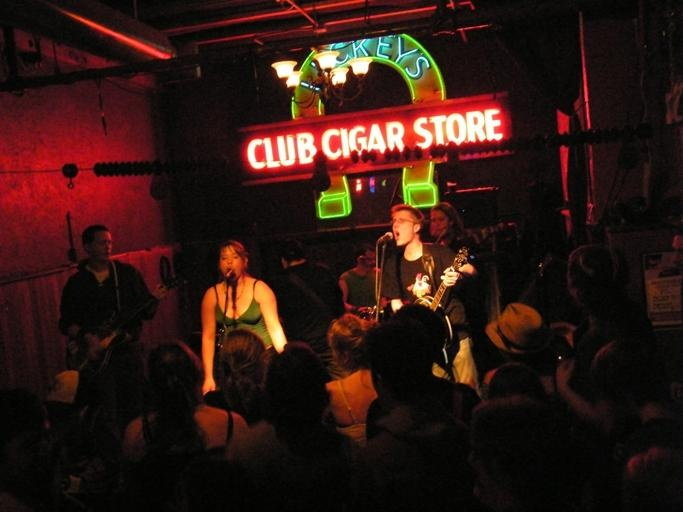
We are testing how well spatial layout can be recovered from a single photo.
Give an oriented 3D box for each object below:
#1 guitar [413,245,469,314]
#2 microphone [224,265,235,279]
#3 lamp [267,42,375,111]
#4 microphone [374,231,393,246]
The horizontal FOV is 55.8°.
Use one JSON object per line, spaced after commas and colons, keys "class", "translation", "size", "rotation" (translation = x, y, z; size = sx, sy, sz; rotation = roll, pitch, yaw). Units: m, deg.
{"class": "guitar", "translation": [0.796, 0.216, 4.899], "size": [0.251, 0.662, 0.070], "rotation": [38, 16, 21]}
{"class": "microphone", "translation": [-0.817, 0.117, 4.765], "size": [0.059, 0.086, 0.077], "rotation": [6, 5, 42]}
{"class": "lamp", "translation": [-0.120, -1.613, 5.886], "size": [0.490, 0.278, 0.587], "rotation": [-7, -4, 37]}
{"class": "microphone", "translation": [0.349, -0.138, 4.795], "size": [0.067, 0.063, 0.234], "rotation": [11, 17, 24]}
